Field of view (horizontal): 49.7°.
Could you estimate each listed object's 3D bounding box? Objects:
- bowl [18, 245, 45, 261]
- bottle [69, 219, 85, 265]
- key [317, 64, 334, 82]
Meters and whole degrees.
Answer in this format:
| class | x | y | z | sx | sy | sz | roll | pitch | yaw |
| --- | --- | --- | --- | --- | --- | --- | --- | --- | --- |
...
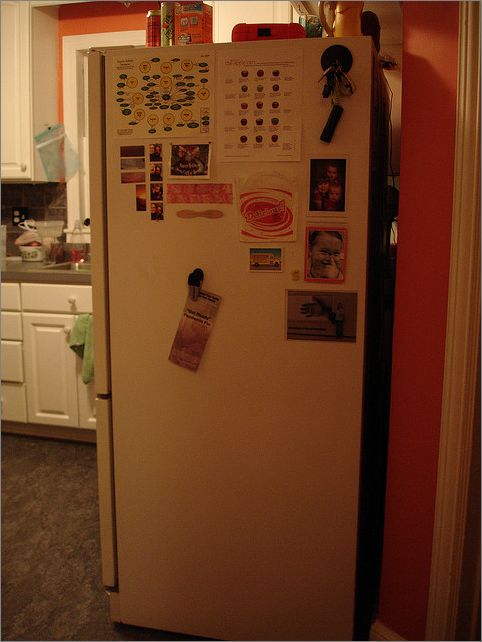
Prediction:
| class | x | y | z | sx | sy | sz | roll | pitch | yaw |
| --- | --- | --- | --- | --- | --- | --- | --- | --- | --- |
| bowl | -1.135 | -0.352 | 2.820 | 0.081 | 0.081 | 0.089 | 0 | 5 | 0 |
| bottle | -0.891 | -0.428 | 2.848 | 0.101 | 0.215 | 0.256 | -3 | 10 | -18 |
| key | 0.176 | -0.497 | 1.047 | 0.006 | 0.023 | 0.014 | 3 | 45 | -36 |
